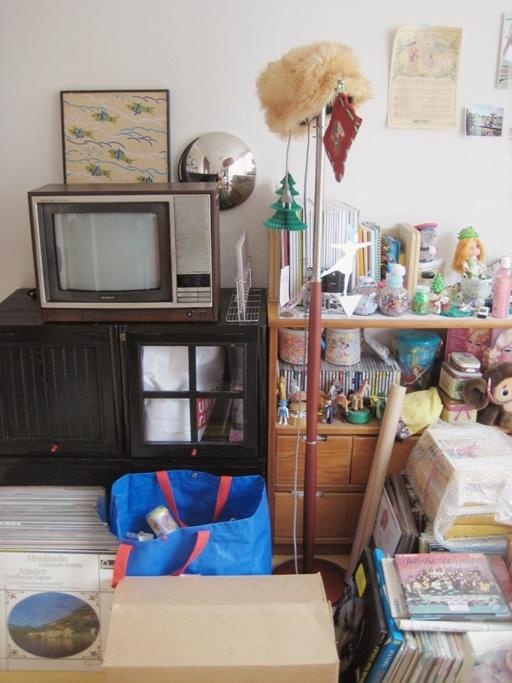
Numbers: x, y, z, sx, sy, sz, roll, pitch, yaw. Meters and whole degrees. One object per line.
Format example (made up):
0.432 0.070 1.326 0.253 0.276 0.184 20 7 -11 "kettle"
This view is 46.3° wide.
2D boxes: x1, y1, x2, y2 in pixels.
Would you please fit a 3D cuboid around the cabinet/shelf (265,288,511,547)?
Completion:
0.387 0.206 1.723 0.810 0.707 0.285 0 25 -4 "cabinet/shelf"

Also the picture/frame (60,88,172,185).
-0.429 -0.645 1.836 0.381 0.331 0.041 1 23 3 "picture/frame"

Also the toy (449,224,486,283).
0.661 -0.252 1.848 0.100 0.174 0.095 -3 -4 2 "toy"

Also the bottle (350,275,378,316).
0.335 -0.144 1.754 0.100 0.148 0.115 5 11 13 "bottle"

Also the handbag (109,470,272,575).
-0.163 0.469 1.612 0.425 0.372 0.270 -2 28 -3 "handbag"

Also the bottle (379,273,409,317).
0.399 -0.133 1.746 0.086 0.121 0.075 -1 7 -5 "bottle"

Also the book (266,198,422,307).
0.250 -0.291 1.991 0.577 0.298 0.410 -2 8 -3 "book"

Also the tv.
-0.330 -0.232 1.712 0.615 0.425 0.319 0 26 -1 "tv"
